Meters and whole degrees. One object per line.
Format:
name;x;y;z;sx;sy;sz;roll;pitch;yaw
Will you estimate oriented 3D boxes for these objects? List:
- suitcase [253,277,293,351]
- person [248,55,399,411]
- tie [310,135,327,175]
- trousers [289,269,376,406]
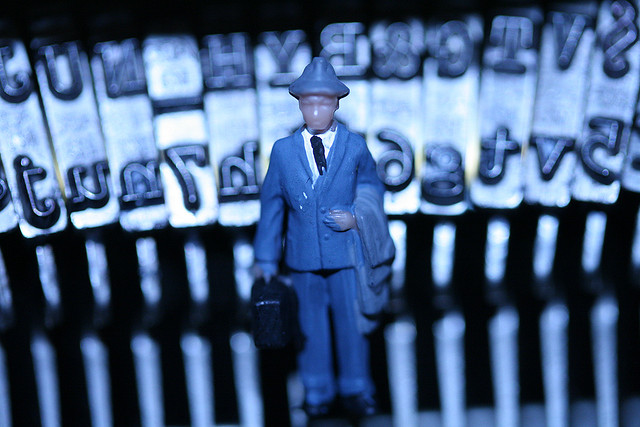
suitcase;-0.211;0.518;6.003;0.261;0.457;0.493;0;4;3
person;-0.010;0.143;5.986;0.645;1.894;0.591;-8;-8;33
tie;-0.016;-0.309;5.860;0.063;0.197;0.049;-16;10;-4
trousers;0.044;0.644;6.135;0.382;0.822;0.232;-6;8;0
